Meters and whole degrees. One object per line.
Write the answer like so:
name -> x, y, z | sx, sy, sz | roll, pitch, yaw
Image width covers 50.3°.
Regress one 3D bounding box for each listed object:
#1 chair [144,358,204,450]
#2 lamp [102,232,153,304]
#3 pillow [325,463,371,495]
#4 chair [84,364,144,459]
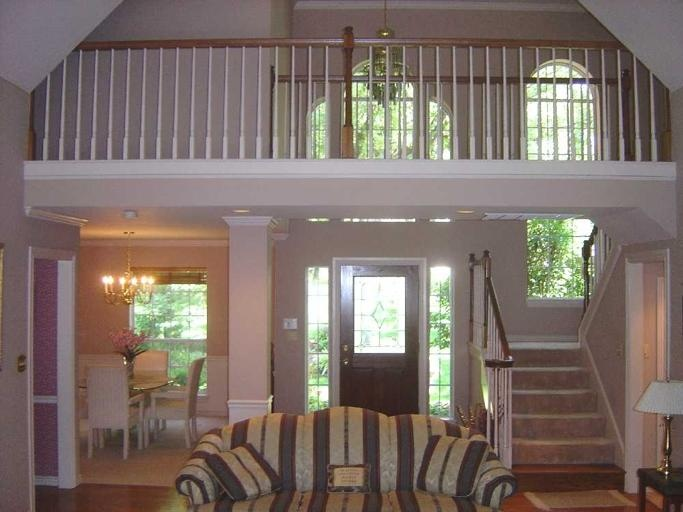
chair -> -2.482, 2.117, 10.892 | 1.023, 1.754, 1.087 | 1, -7, -4
lamp -> -3.304, 0.218, 11.307 | 0.789, 1.046, 1.761 | -1, -5, -18
pillow -> 0.067, 2.303, 7.557 | 0.427, 0.274, 0.068 | -3, -5, 3
chair -> -3.136, 2.096, 9.960 | 0.765, 1.229, 0.746 | -2, -5, 0
